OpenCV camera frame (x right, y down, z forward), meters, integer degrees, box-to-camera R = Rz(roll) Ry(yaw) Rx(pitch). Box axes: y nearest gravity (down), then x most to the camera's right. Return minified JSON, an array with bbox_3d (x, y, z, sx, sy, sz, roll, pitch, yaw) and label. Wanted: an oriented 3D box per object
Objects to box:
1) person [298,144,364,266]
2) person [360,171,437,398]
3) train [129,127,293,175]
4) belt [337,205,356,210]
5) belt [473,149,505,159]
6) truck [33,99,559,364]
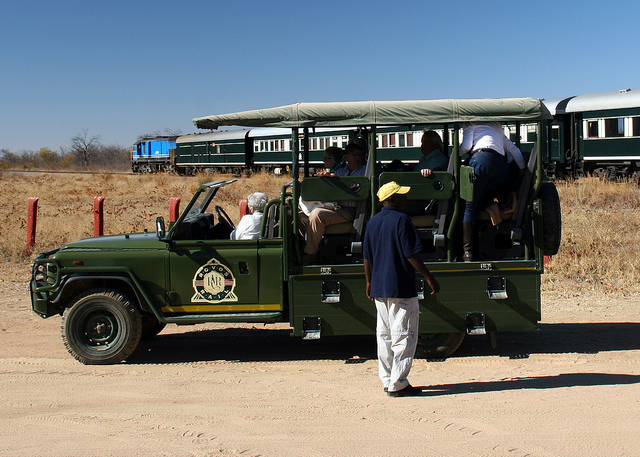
[{"bbox_3d":[0.159,-0.371,10.829,0.890,1.863,0.616,10,1,-18],"label":"person"},{"bbox_3d":[0.969,0.644,9.817,0.896,2.568,1.389,0,9,5],"label":"person"},{"bbox_3d":[-5.827,-4.563,46.823,10.696,2.537,1.882,0,-5,19],"label":"train"},{"bbox_3d":[0.356,-0.306,10.661,0.233,0.070,0.056,-1,9,-1],"label":"belt"},{"bbox_3d":[2.277,-1.062,10.655,0.348,0.090,0.088,1,10,9],"label":"belt"},{"bbox_3d":[-0.245,0.159,11.396,6.914,4.042,3.608,1,-1,0],"label":"truck"}]
